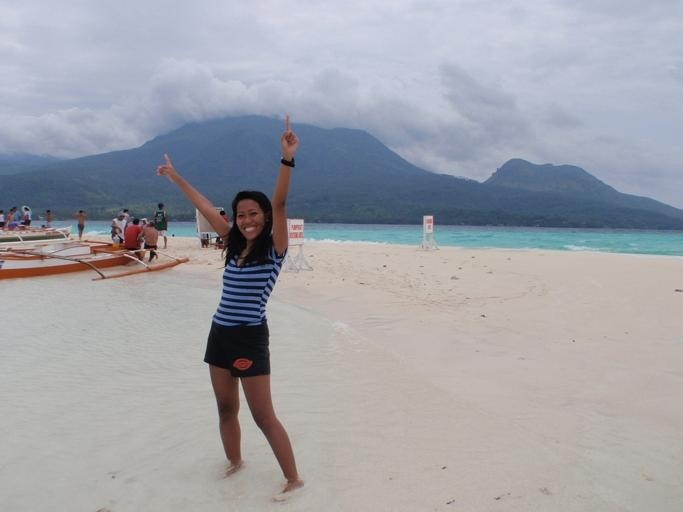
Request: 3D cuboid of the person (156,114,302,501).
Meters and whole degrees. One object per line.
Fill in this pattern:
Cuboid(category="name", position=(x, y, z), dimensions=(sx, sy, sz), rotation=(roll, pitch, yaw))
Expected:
Cuboid(category="person", position=(-0.985, 0.467, 5.106), dimensions=(0.828, 3.622, 1.189), rotation=(-4, 9, -32))
